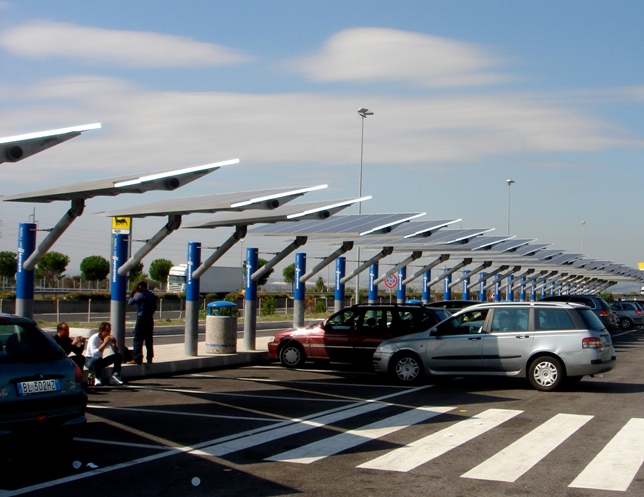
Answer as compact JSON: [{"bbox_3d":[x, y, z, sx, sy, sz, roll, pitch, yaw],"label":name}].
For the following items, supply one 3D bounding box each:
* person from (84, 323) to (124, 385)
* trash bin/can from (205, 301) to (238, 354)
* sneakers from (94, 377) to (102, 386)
[{"bbox_3d":[-4.679,2.181,15.913,0.786,1.270,2.329,2,-5,-14],"label":"person"},{"bbox_3d":[-2.594,1.995,19.096,0.775,1.343,0.618,1,-6,-9],"label":"trash bin/can"},{"bbox_3d":[-4.590,2.673,15.104,0.138,0.165,0.118,2,-6,-17],"label":"sneakers"}]
